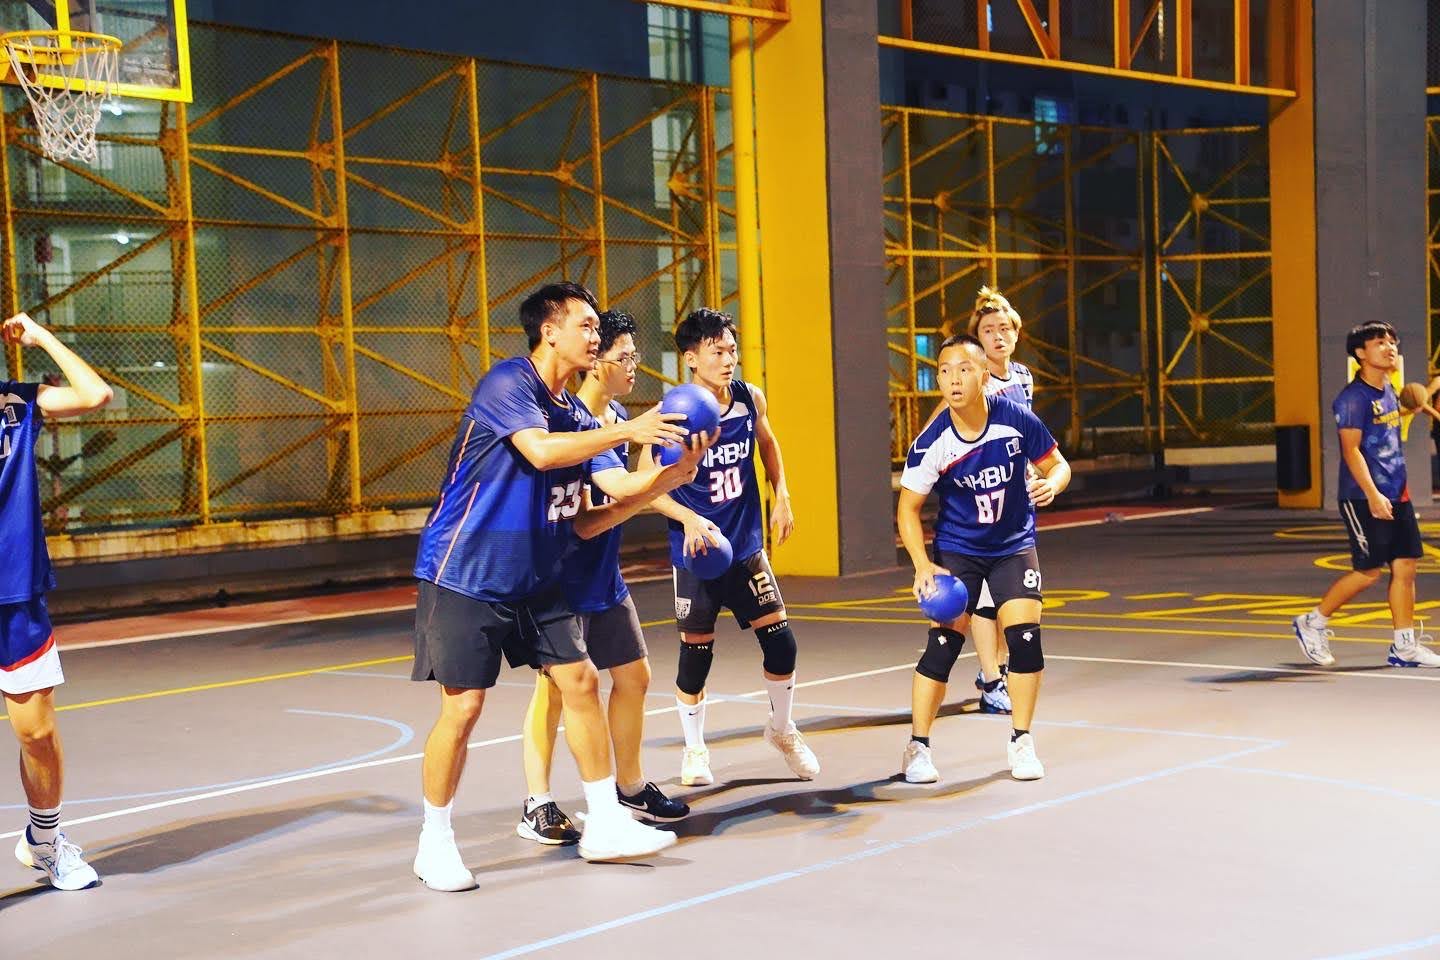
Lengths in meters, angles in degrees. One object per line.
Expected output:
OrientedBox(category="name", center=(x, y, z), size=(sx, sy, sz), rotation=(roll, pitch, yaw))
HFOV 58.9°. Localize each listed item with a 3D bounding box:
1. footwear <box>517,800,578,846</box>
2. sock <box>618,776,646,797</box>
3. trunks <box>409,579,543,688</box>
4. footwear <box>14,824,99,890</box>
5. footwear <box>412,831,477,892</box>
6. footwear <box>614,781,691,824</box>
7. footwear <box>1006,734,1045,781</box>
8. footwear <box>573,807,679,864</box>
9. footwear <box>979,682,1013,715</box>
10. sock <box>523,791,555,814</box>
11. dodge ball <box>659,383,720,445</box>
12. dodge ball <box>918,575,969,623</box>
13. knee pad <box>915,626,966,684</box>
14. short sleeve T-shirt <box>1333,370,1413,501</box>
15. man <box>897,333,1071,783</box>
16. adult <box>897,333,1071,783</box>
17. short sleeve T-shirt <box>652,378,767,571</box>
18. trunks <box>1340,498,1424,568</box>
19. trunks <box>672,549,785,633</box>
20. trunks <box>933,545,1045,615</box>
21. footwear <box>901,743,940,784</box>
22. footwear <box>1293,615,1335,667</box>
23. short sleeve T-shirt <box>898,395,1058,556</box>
OrientedBox(category="footwear", center=(-0.917, 1.860, 6.938), size=(0.356, 0.165, 0.172), rotation=(0, -1, 37))
OrientedBox(category="sock", center=(-0.486, 1.723, 7.139), size=(0.183, 0.068, 0.080), rotation=(-5, -14, 13))
OrientedBox(category="trunks", center=(-1.225, 0.727, 6.486), size=(0.472, 0.621, 0.836), rotation=(4, 1, 44))
OrientedBox(category="footwear", center=(-3.423, 1.947, 6.615), size=(0.475, 0.196, 0.201), rotation=(23, 17, 18))
OrientedBox(category="footwear", center=(-1.380, 1.857, 6.386), size=(0.211, 0.303, 0.420), rotation=(4, -1, -40))
OrientedBox(category="footwear", center=(-0.362, 1.804, 7.186), size=(0.461, 0.200, 0.168), rotation=(6, 7, 4))
OrientedBox(category="footwear", center=(1.825, 1.622, 7.550), size=(0.200, 0.267, 0.190), rotation=(0, 8, 11))
OrientedBox(category="footwear", center=(-0.492, 1.810, 6.636), size=(0.585, 0.337, 0.221), rotation=(-2, 8, -4))
OrientedBox(category="footwear", center=(1.959, 1.560, 9.079), size=(0.272, 0.262, 0.169), rotation=(-2, 0, 19))
OrientedBox(category="sock", center=(-0.983, 1.764, 6.956), size=(0.124, 0.134, 0.313), rotation=(-1, -17, -14))
OrientedBox(category="dodge ball", center=(-0.133, -0.294, 6.376), size=(0.270, 0.317, 0.276), rotation=(-3, 29, 1))
OrientedBox(category="dodge ball", center=(1.333, 0.689, 7.425), size=(0.219, 0.326, 0.381), rotation=(4, 10, 39))
OrientedBox(category="knee pad", center=(1.314, 1.029, 7.599), size=(0.289, 0.360, 0.169), rotation=(-5, 8, -22))
OrientedBox(category="short sleeve T-shirt", center=(4.971, -0.310, 9.742), size=(0.548, 0.957, 0.364), rotation=(-1, 8, 6))
OrientedBox(category="man", center=(1.571, 0.453, 7.644), size=(1.013, 2.640, 0.740), rotation=(-2, 7, 0))
OrientedBox(category="adult", center=(1.575, 0.451, 7.655), size=(1.021, 2.640, 0.758), rotation=(-2, 7, 0))
OrientedBox(category="short sleeve T-shirt", center=(-0.075, -0.046, 7.909), size=(0.551, 1.129, 0.448), rotation=(-4, 16, -7))
OrientedBox(category="trunks", center=(5.124, 0.381, 9.843), size=(0.563, 0.531, 0.314), rotation=(-5, 0, -17))
OrientedBox(category="trunks", center=(0.014, 0.691, 7.890), size=(0.723, 0.519, 0.275), rotation=(-10, 3, -25))
OrientedBox(category="trunks", center=(1.614, 0.753, 7.607), size=(0.667, 0.542, 0.377), rotation=(-2, -9, 12))
OrientedBox(category="footwear", center=(1.200, 1.666, 7.592), size=(0.209, 0.233, 0.221), rotation=(-1, 8, 9))
OrientedBox(category="footwear", center=(4.691, 1.286, 10.096), size=(0.125, 0.352, 0.161), rotation=(-22, -17, -25))
OrientedBox(category="short sleeve T-shirt", center=(1.578, -0.019, 7.713), size=(0.998, 0.909, 0.429), rotation=(-10, 16, -3))
